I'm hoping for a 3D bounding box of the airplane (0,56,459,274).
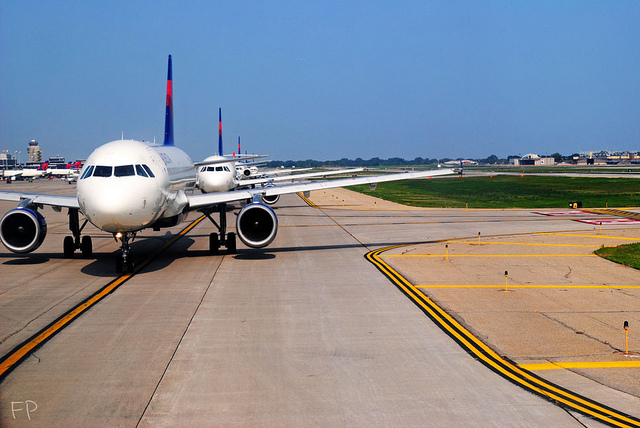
[{"bbox_3d":[-7.326,-2.314,29.550,12.212,8.494,13.550,6,10,33],"label":"airplane"}]
